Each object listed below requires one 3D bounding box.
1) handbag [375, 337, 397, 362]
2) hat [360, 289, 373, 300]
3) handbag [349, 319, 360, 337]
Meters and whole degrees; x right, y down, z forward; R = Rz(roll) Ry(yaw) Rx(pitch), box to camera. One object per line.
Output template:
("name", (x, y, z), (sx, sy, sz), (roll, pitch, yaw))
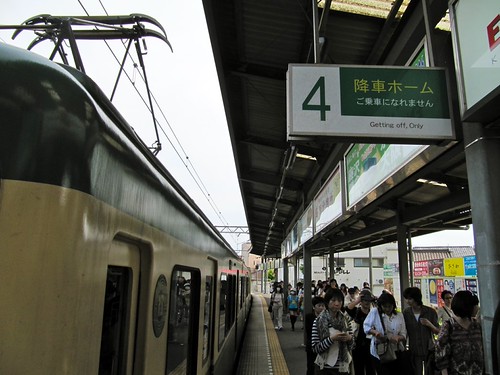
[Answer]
("handbag", (1.667, 1.978, 4.602), (0.152, 0.260, 0.114), (-30, -30, 13))
("hat", (1.686, 1.569, 5.490), (0.169, 0.163, 0.363), (-5, -20, 15))
("handbag", (1.543, 2.080, 5.537), (0.119, 0.257, 0.302), (-4, -18, 15))
